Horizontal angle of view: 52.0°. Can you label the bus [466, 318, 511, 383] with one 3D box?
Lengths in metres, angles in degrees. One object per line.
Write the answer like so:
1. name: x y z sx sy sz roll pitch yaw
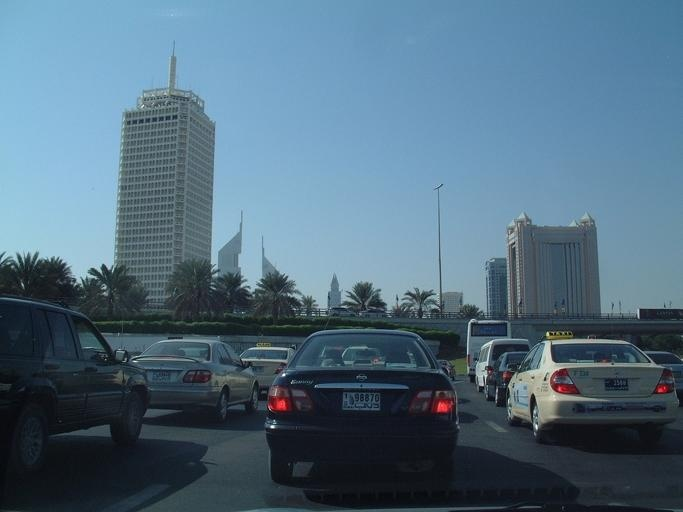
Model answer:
1. bus: 7.278 4.173 34.980 1.444 2.060 3.744 0 -4 6
